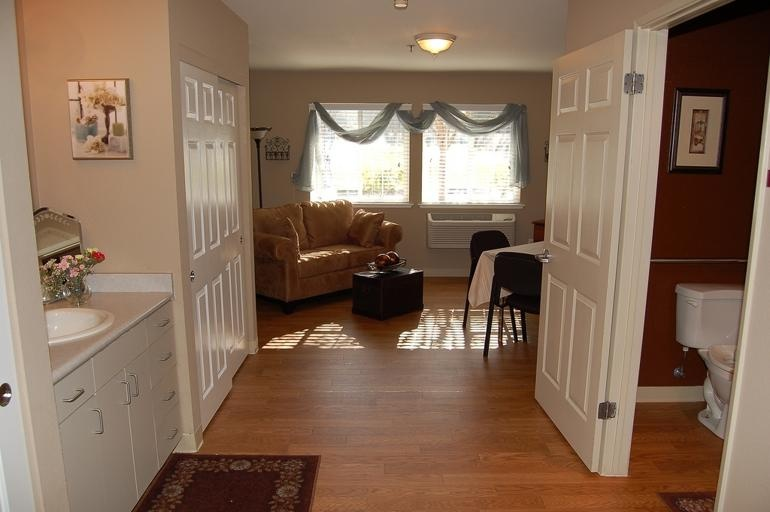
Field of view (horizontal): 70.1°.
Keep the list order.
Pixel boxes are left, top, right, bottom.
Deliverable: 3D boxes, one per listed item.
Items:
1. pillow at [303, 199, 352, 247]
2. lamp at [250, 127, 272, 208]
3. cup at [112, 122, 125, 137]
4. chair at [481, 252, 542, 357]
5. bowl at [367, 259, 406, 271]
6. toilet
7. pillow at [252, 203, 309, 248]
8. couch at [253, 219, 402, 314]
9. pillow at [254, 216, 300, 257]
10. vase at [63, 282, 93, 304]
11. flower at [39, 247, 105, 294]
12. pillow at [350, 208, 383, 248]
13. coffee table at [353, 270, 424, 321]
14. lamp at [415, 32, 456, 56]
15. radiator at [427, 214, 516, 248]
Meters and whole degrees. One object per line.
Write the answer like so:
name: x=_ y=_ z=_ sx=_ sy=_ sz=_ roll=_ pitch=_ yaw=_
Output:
pillow: x=-0.747 y=-0.426 z=7.207 sx=0.821 sy=0.581 sz=0.300 roll=-10 pitch=25 yaw=-42
lamp: x=-1.664 y=-1.200 z=7.467 sx=0.265 sy=1.083 sz=0.490 roll=-2 pitch=11 yaw=-12
cup: x=-1.614 y=-0.767 z=3.331 sx=0.069 sy=0.080 sz=0.069 roll=3 pitch=8 yaw=0
chair: x=1.135 y=0.412 z=4.926 sx=0.466 sy=1.032 sz=1.019 roll=2 pitch=11 yaw=12
bowl: x=0.046 y=0.113 z=6.198 sx=0.490 sy=0.134 sz=0.246 roll=-7 pitch=13 yaw=-35
toilet: x=2.278 y=0.734 z=3.974 sx=0.420 sy=1.009 sz=0.640 roll=7 pitch=13 yaw=30
pillow: x=-1.288 y=-0.352 z=6.784 sx=0.700 sy=0.219 sz=0.711 roll=-8 pitch=-26 yaw=37
couch: x=-0.791 y=-0.002 z=7.002 sx=0.926 sy=1.007 sz=2.102 roll=8 pitch=12 yaw=41
pillow: x=-1.257 y=-0.203 z=6.236 sx=0.560 sy=0.412 sz=0.474 roll=1 pitch=11 yaw=7
vase: x=-1.809 y=0.216 z=3.262 sx=0.126 sy=0.179 sz=0.129 roll=1 pitch=4 yaw=-14
flower: x=-1.876 y=0.089 z=3.314 sx=0.304 sy=0.213 sz=0.262 roll=1 pitch=4 yaw=22
pillow: x=-0.301 y=-0.338 z=7.167 sx=0.538 sy=0.473 sz=0.289 roll=3 pitch=-2 yaw=43
coffee table: x=0.038 y=0.408 z=6.279 sx=0.494 sy=0.459 sz=0.731 roll=7 pitch=10 yaw=41
lamp: x=0.475 y=-2.063 z=5.281 sx=0.309 sy=0.136 sz=0.340 roll=-6 pitch=12 yaw=-29
radiator: x=1.231 y=-0.310 z=7.877 sx=1.224 sy=0.578 sz=0.369 roll=1 pitch=-14 yaw=7
